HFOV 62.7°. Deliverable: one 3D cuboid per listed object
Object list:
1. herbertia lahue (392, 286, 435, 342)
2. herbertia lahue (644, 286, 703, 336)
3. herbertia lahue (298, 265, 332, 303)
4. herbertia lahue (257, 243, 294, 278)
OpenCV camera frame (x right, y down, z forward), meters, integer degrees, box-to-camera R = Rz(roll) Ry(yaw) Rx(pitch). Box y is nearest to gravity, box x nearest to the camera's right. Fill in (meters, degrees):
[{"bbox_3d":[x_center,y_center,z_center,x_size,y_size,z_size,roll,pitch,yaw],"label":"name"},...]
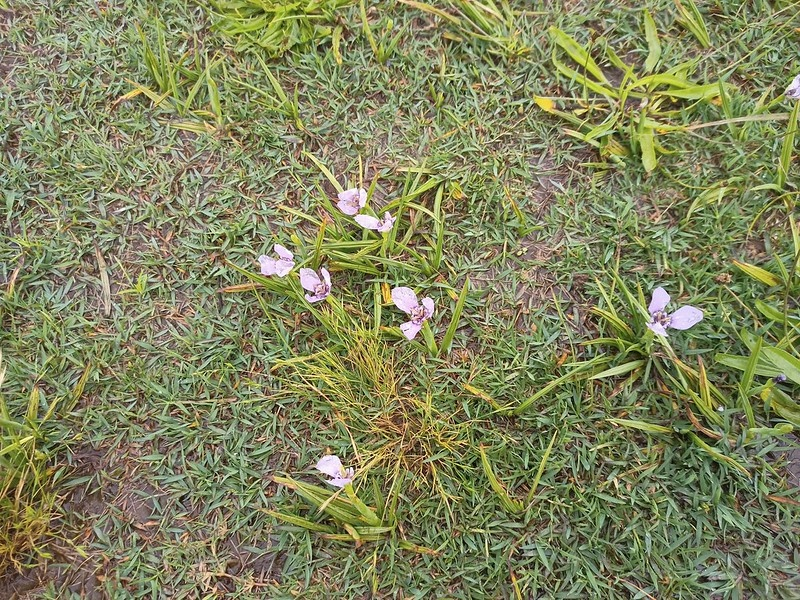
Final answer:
[{"bbox_3d":[0.063,0.057,2.716,0.207,0.096,0.211,-16,83,8],"label":"herbertia lahue"},{"bbox_3d":[1.101,0.064,2.715,0.184,0.080,0.151,21,31,22],"label":"herbertia lahue"},{"bbox_3d":[-0.367,-0.065,2.791,0.143,0.125,0.121,0,68,10],"label":"herbertia lahue"},{"bbox_3d":[-0.520,-0.154,2.794,0.142,0.153,0.111,-9,66,7],"label":"herbertia lahue"}]
